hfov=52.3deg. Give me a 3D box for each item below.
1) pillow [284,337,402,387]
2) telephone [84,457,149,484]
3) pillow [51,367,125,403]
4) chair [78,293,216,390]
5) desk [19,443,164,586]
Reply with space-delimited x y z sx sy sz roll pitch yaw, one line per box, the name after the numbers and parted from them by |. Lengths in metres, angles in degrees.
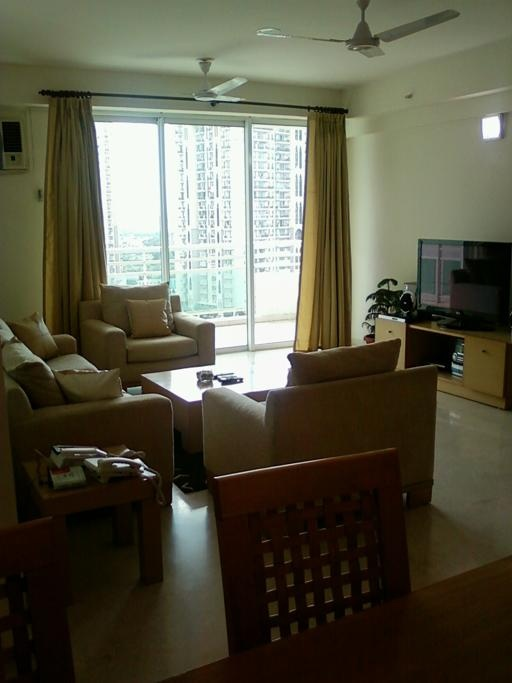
0.441 0.110 2.628 0.456 0.267 0.206 -7 -17 -19 | pillow
-0.578 0.513 2.153 0.147 0.082 0.124 -3 4 -24 | telephone
-0.869 0.210 2.742 0.199 0.105 0.222 0 16 -22 | pillow
-1.142 -0.315 5.256 1.129 1.198 0.889 -6 10 -32 | chair
-0.680 0.666 2.215 0.490 0.592 0.527 -3 3 -29 | desk
